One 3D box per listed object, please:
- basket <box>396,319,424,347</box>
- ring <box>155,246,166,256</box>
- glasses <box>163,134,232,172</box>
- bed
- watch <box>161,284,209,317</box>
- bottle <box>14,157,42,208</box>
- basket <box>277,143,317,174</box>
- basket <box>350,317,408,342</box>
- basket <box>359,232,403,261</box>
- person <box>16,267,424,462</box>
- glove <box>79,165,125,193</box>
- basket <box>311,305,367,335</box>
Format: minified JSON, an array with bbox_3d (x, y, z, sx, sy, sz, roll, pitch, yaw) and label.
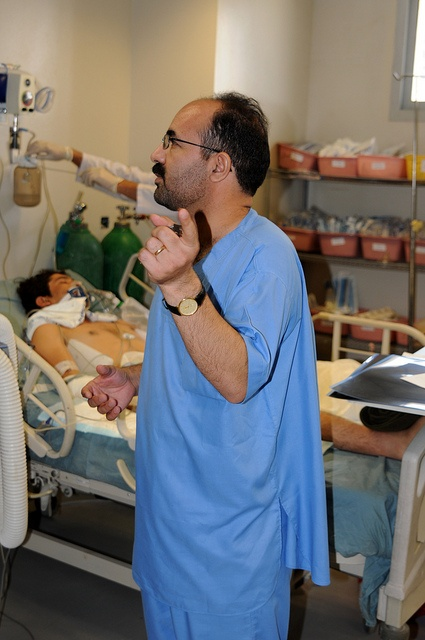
[{"bbox_3d":[1.062,0.079,2.782,0.164,0.140,0.166,5,6,42],"label":"basket"},{"bbox_3d":[-0.045,-0.058,0.445,0.008,0.008,0.008,-32,6,4],"label":"ring"},{"bbox_3d":[-0.026,-0.267,0.783,0.084,0.025,0.080,11,17,-15],"label":"glasses"},{"bbox_3d":[-0.329,0.305,2.039,1.461,0.768,0.861,19,12,16],"label":"bed"},{"bbox_3d":[-0.026,-0.014,0.480,0.021,0.036,0.035,45,19,-12],"label":"watch"},{"bbox_3d":[-0.667,-0.500,1.875,0.052,0.171,0.128,6,8,35],"label":"bottle"},{"bbox_3d":[0.568,-1.087,3.574,0.270,0.140,0.191,28,17,19],"label":"basket"},{"bbox_3d":[1.045,0.089,3.351,0.378,0.177,0.259,6,7,25],"label":"basket"},{"bbox_3d":[1.096,-0.475,3.351,0.214,0.112,0.165,5,6,37],"label":"basket"},{"bbox_3d":[-0.058,0.116,1.316,0.815,0.361,0.447,28,34,26],"label":"person"},{"bbox_3d":[-0.497,-0.618,2.260,0.128,0.039,0.099,33,18,18],"label":"glove"},{"bbox_3d":[0.842,0.040,3.564,0.261,0.125,0.364,-7,18,-17],"label":"basket"}]
